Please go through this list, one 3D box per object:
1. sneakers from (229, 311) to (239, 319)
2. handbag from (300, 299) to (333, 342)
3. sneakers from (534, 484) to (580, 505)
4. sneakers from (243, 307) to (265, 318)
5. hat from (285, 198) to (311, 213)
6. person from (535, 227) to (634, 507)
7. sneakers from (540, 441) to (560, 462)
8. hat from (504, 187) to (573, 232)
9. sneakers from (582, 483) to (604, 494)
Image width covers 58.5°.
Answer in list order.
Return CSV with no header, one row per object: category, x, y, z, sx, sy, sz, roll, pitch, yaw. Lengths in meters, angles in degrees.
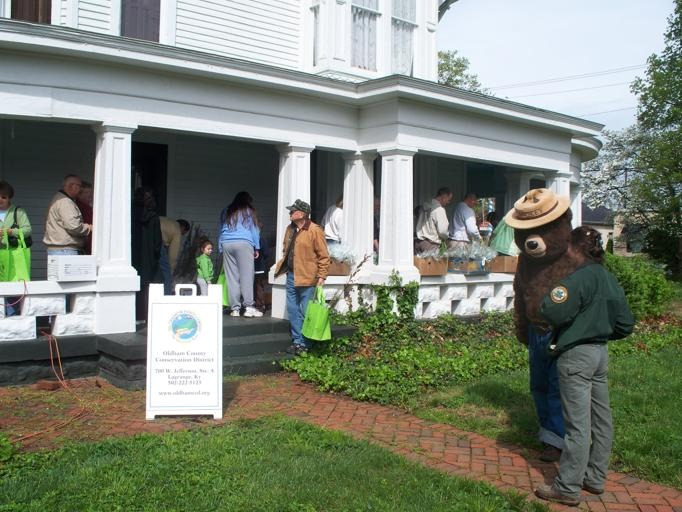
sneakers,-1.772,0.994,10.246,0.110,0.119,0.114,0,4,-13
handbag,-0.364,0.944,8.953,0.394,0.549,0.315,0,7,-5
sneakers,1.945,2.163,5.497,0.347,0.182,0.152,17,7,30
sneakers,-1.445,0.948,10.275,0.369,0.199,0.134,-3,6,-42
hat,-0.637,-0.756,9.303,0.303,0.180,0.229,4,-1,-3
person,2.220,0.976,5.659,0.956,2.462,0.550,-4,9,-38
sneakers,2.103,2.034,6.285,0.227,0.242,0.118,4,-3,4
hat,1.912,-0.485,5.952,0.600,0.238,0.631,-25,7,18
sneakers,2.330,2.173,5.672,0.070,0.089,0.196,-3,8,-31
